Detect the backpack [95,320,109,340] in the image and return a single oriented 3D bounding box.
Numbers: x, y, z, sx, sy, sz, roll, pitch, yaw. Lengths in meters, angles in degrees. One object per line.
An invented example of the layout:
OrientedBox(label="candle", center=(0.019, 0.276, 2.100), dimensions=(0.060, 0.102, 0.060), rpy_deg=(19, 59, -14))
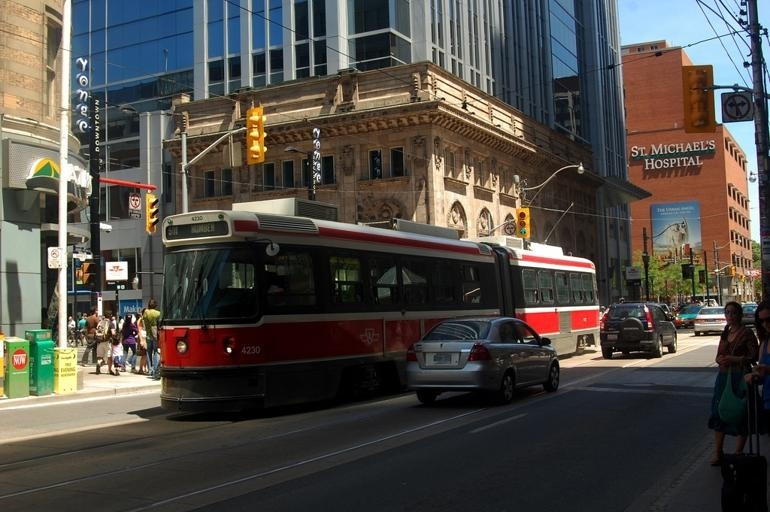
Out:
OrientedBox(label="backpack", center=(-10.079, 2.744, 27.472), dimensions=(0.440, 0.654, 0.651), rpy_deg=(2, -2, -5))

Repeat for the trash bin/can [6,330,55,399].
OrientedBox(label="trash bin/can", center=(-10.154, 3.120, 21.682), dimensions=(1.349, 1.773, 0.635), rpy_deg=(-2, 1, -30))
